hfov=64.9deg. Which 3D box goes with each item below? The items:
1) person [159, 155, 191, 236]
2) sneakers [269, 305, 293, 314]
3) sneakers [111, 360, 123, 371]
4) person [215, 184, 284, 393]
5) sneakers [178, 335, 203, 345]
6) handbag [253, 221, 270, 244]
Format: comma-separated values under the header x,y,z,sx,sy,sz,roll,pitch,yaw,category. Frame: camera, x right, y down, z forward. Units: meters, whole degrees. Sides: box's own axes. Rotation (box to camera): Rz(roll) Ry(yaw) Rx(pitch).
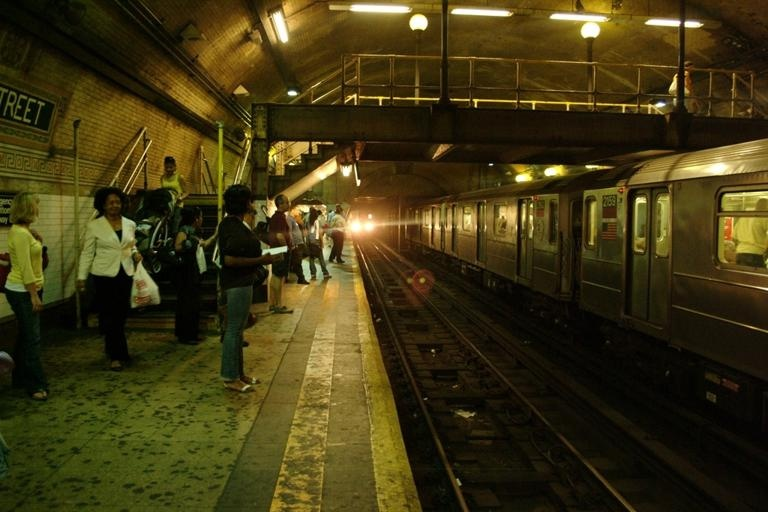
x,y,z,sx,sy,sz,roll,pitch,yaw,category
-4.227,-0.964,11.866,0.537,1.847,0.577,1,-4,-2,person
-2.263,1.149,13.050,0.549,0.222,0.206,1,-1,-1,sneakers
-4.062,1.658,9.181,0.148,0.139,0.151,0,-1,-1,sneakers
-2.024,0.479,8.581,0.685,2.862,0.685,-1,14,-14,person
-3.354,1.452,10.474,0.436,0.176,0.135,5,-4,2,sneakers
-2.564,-0.522,12.589,0.190,0.493,0.357,3,-9,-4,handbag
